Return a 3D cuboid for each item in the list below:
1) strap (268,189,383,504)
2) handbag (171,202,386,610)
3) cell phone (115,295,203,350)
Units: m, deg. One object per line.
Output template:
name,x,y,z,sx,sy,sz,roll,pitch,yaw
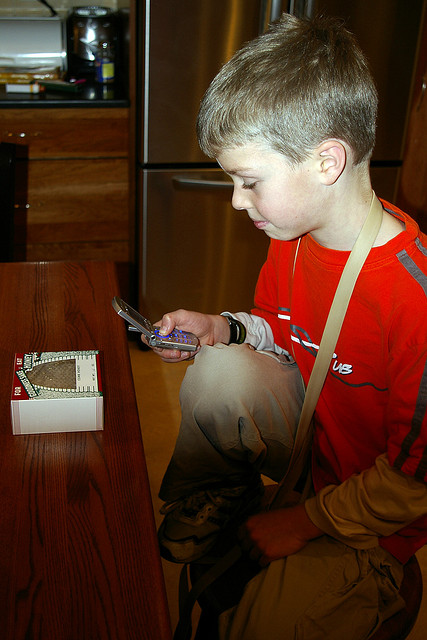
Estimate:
strap,0.205,0.032,0.823,0.076,0.481,0.102,11,20,16
handbag,0.203,0.152,0.933,0.094,0.876,0.308,25,-9,-25
cell phone,-0.098,0.004,0.846,0.159,0.068,0.064,7,20,-16
